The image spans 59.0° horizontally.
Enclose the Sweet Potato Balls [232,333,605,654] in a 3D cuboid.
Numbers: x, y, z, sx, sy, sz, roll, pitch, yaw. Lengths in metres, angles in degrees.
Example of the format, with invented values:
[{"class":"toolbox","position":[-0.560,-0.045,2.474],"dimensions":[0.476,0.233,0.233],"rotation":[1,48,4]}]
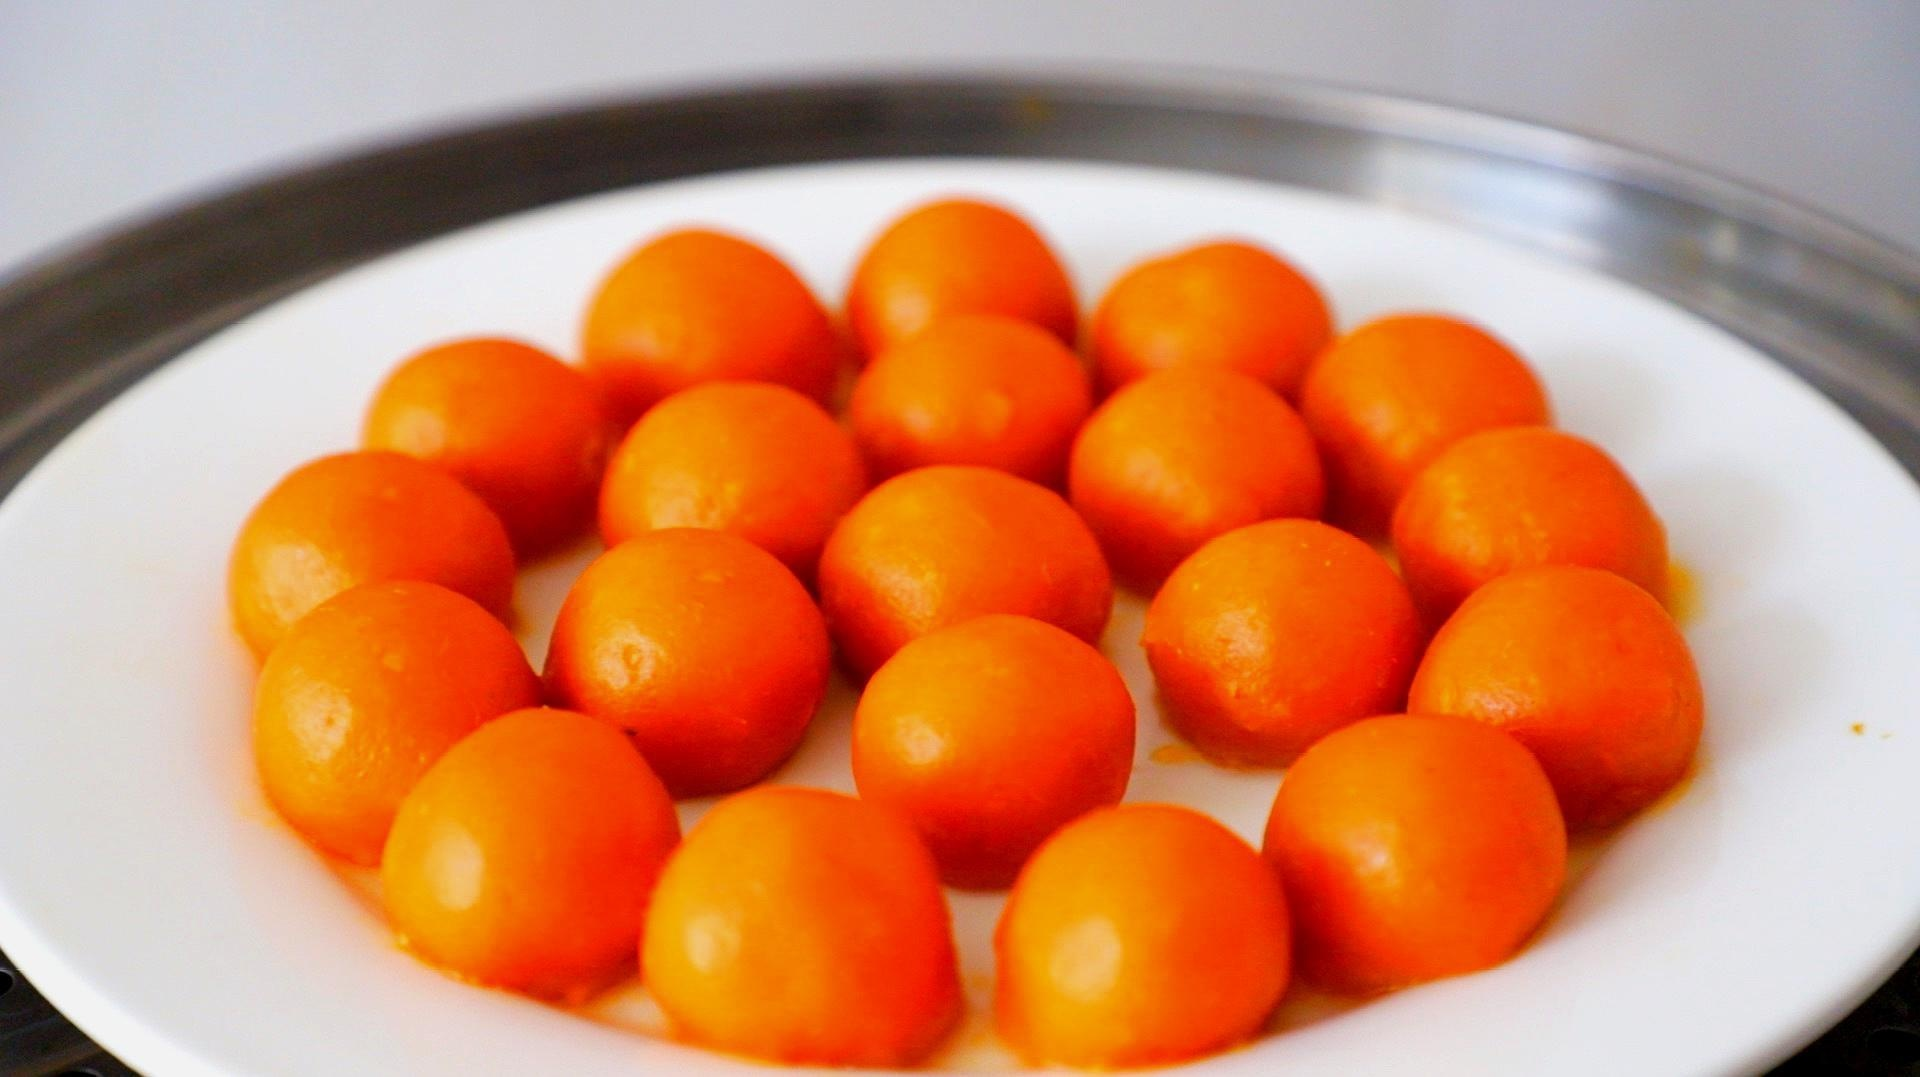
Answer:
[{"class":"Sweet Potato Balls","position":[-0.348,-0.025,1.151],"dimensions":[0.150,0.111,0.246],"rotation":[38,44,-2]}]

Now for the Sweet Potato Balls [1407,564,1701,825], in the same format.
[{"class":"Sweet Potato Balls","position":[0.378,0.072,1.046],"dimensions":[0.181,0.102,0.191],"rotation":[-13,18,4]}]

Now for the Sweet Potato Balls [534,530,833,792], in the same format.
[{"class":"Sweet Potato Balls","position":[-0.162,0.095,1.093],"dimensions":[0.161,0.119,0.154],"rotation":[1,72,-2]}]

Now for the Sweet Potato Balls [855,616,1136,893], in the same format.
[{"class":"Sweet Potato Balls","position":[0.038,0.112,1.051],"dimensions":[0.152,0.195,0.149],"rotation":[-7,77,32]}]

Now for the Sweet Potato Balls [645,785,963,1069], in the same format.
[{"class":"Sweet Potato Balls","position":[-0.083,0.214,0.925],"dimensions":[0.174,0.060,0.143],"rotation":[8,73,4]}]

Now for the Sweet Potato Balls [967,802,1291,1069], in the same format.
[{"class":"Sweet Potato Balls","position":[0.099,0.221,0.922],"dimensions":[0.155,0.050,0.145],"rotation":[-1,73,2]}]

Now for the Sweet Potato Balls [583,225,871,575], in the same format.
[{"class":"Sweet Potato Balls","position":[-0.151,-0.101,1.109],"dimensions":[0.152,0.118,0.263],"rotation":[-3,47,-15]}]

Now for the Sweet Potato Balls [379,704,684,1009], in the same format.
[{"class":"Sweet Potato Balls","position":[-0.233,0.177,0.931],"dimensions":[0.129,0.167,0.130],"rotation":[6,59,-10]}]
